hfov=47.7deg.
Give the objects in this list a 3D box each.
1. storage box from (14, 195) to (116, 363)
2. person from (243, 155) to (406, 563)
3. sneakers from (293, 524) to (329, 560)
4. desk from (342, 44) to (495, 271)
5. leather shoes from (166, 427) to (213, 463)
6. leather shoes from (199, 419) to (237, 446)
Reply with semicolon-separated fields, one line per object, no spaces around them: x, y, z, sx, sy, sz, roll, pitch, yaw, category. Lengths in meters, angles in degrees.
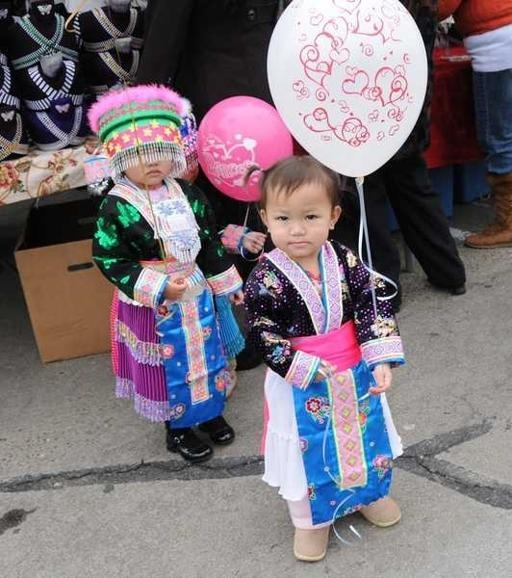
-0.859;-0.011;2.591;0.487;0.482;0.789;-9;29;-13;storage box
0.171;0.193;1.461;0.386;1.004;0.420;-7;28;1;person
0.141;0.664;1.524;0.050;0.050;0.131;0;-1;4;sneakers
0.754;-0.827;3.575;1.017;1.052;1.099;-24;30;-36;desk
-0.230;0.522;1.996;0.198;0.070;0.082;8;21;43;leather shoes
-0.133;0.497;2.052;0.062;0.053;0.143;-24;25;-37;leather shoes
